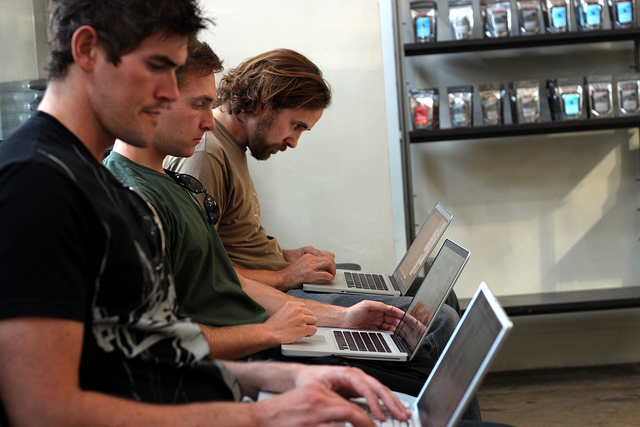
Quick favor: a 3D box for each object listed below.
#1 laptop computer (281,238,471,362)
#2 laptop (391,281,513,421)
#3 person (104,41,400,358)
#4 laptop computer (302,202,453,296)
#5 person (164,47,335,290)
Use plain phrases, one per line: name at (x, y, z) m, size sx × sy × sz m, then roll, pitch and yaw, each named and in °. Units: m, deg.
laptop computer at (0.203, 0.230, 1.854) m, size 0.475 × 0.319 × 0.468 m, roll 4°, pitch 1°, yaw 5°
laptop at (0.275, 0.392, 1.412) m, size 0.313 × 0.273 × 0.385 m, roll 10°, pitch 14°, yaw -2°
person at (-0.080, 0.164, 2.013) m, size 0.907 × 1.505 × 0.663 m, roll 14°, pitch 31°, yaw 11°
laptop computer at (0.255, 0.202, 2.442) m, size 0.517 × 0.330 × 0.506 m, roll 3°, pitch 5°, yaw 7°
person at (-0.325, -0.218, 2.654) m, size 0.818 × 1.139 × 0.918 m, roll 6°, pitch 3°, yaw 0°
